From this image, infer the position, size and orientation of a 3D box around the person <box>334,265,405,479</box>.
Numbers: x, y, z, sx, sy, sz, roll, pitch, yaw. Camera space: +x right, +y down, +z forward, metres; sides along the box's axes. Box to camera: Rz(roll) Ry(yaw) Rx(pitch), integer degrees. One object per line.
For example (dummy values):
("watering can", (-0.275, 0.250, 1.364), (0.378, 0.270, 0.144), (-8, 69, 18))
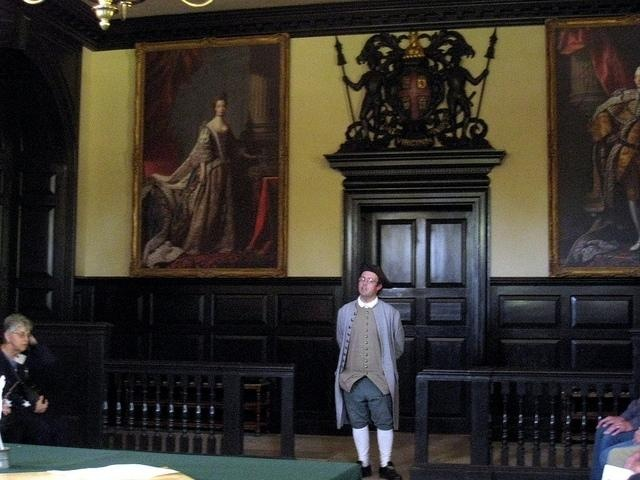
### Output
("person", (0.519, 1.396, 11.518), (0.767, 2.225, 0.328), (-3, -11, 9))

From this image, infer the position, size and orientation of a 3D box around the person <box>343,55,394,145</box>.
("person", (0.579, -1.739, 13.366), (0.700, 1.279, 0.182), (-2, -11, 0))

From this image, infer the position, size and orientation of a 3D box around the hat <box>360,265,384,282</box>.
("hat", (0.597, 0.339, 11.651), (0.237, 0.071, 0.206), (25, -11, -22))

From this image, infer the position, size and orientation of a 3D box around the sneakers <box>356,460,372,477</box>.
("sneakers", (0.484, 2.412, 11.485), (0.127, 0.165, 0.274), (-2, -8, 4))

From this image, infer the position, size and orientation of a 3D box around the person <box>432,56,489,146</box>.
("person", (1.721, -1.686, 13.185), (0.812, 1.188, 0.216), (-2, -10, 4))

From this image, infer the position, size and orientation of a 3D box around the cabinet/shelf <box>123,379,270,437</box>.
("cabinet/shelf", (-1.633, 1.956, 12.879), (1.831, 0.429, 0.519), (2, -13, -15))
